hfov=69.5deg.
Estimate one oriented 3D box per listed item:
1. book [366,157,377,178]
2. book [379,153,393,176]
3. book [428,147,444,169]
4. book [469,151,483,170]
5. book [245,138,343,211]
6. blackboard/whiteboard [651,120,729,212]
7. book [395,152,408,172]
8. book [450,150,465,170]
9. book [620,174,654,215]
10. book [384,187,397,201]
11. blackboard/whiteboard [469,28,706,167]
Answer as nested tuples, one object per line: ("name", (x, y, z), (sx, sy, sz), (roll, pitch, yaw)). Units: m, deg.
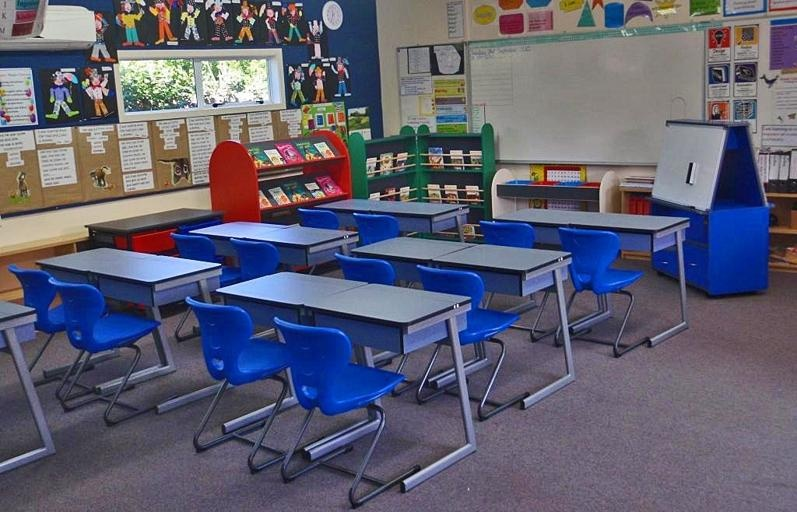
("book", (-0.379, -1.228, 7.852), (0.035, 0.299, 0.280), (7, 17, 36))
("book", (-0.190, -1.293, 8.019), (0.031, 0.281, 0.292), (7, 18, 37))
("book", (0.550, -1.439, 8.340), (0.307, 0.382, 0.042), (-6, -2, 31))
("book", (1.085, -1.372, 8.054), (0.225, 0.280, 0.298), (4, 13, 11))
("book", (-1.222, -1.073, 7.092), (1.278, 0.818, 0.434), (-16, 22, -39))
("blackboard/whiteboard", (3.088, -0.936, 6.036), (0.394, 0.824, 0.905), (-3, 21, -18))
("book", (0.026, -1.365, 8.247), (0.033, 0.297, 0.272), (12, 18, 40))
("book", (0.839, -1.388, 8.168), (0.288, 0.379, 0.041), (4, 11, 38))
("book", (2.894, -0.737, 6.954), (0.519, 0.469, 0.347), (10, 21, 34))
("book", (-0.104, -0.901, 8.206), (0.220, 0.192, 0.051), (-7, 11, -34))
("blackboard/whiteboard", (2.495, -2.045, 7.314), (2.239, 1.259, 0.096), (10, 20, 33))
